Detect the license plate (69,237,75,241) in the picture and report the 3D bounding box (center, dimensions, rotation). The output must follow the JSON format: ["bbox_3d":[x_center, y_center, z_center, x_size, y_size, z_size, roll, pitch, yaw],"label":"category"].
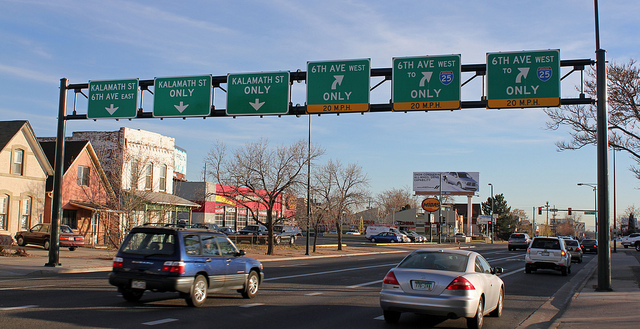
[{"bbox_3d":[-22.026,6.697,56.190,0.316,0.204,0.292,0,-2,4],"label":"license plate"}]

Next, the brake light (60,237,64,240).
[{"bbox_3d":[-22.714,6.567,55.649,0.359,0.226,0.142,6,-11,-41],"label":"brake light"}]

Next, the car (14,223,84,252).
[{"bbox_3d":[-24.427,6.585,56.936,5.593,1.711,2.685,2,-4,27],"label":"car"}]

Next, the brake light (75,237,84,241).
[{"bbox_3d":[-21.536,6.731,56.583,0.284,0.345,0.730,-6,-9,31],"label":"brake light"}]

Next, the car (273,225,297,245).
[{"bbox_3d":[-4.253,8.545,76.046,1.250,2.256,4.140,-4,-9,21],"label":"car"}]

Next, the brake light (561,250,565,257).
[{"bbox_3d":[19.086,7.047,49.472,0.319,0.431,0.130,-3,-11,-8],"label":"brake light"}]

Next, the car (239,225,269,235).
[{"bbox_3d":[-8.188,8.059,78.152,2.288,0.972,1.459,-6,-7,26],"label":"car"}]

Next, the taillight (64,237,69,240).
[{"bbox_3d":[-22.397,6.597,55.909,0.118,0.225,0.386,-8,-10,40],"label":"taillight"}]

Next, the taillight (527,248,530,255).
[{"bbox_3d":[16.616,6.975,50.183,0.211,0.497,0.381,1,-8,-12],"label":"taillight"}]

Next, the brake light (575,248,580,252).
[{"bbox_3d":[24.279,8.119,59.478,0.471,0.298,0.154,3,-9,-29],"label":"brake light"}]
